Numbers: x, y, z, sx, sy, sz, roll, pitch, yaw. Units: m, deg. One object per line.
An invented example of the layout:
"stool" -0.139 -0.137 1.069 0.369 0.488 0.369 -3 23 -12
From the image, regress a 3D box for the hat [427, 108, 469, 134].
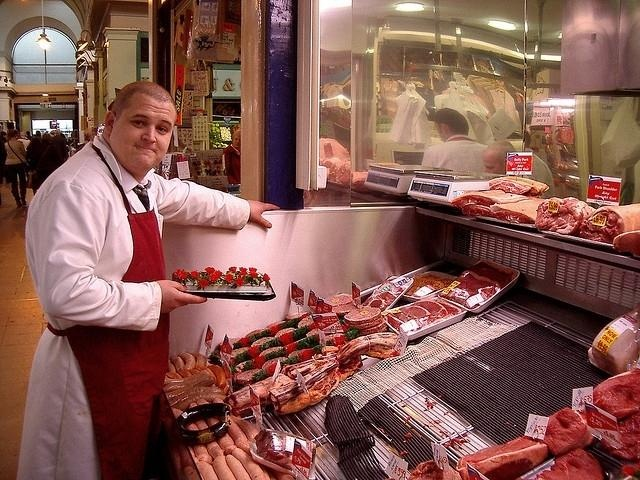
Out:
"hat" 1.136 -1.094 3.468 0.266 0.284 0.216 -11 11 41

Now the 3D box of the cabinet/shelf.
"cabinet/shelf" 0.598 0.585 1.957 1.477 0.342 1.002 -26 16 -9

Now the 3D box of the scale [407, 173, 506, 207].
"scale" 0.861 -0.367 2.653 0.530 0.195 0.343 4 15 21
